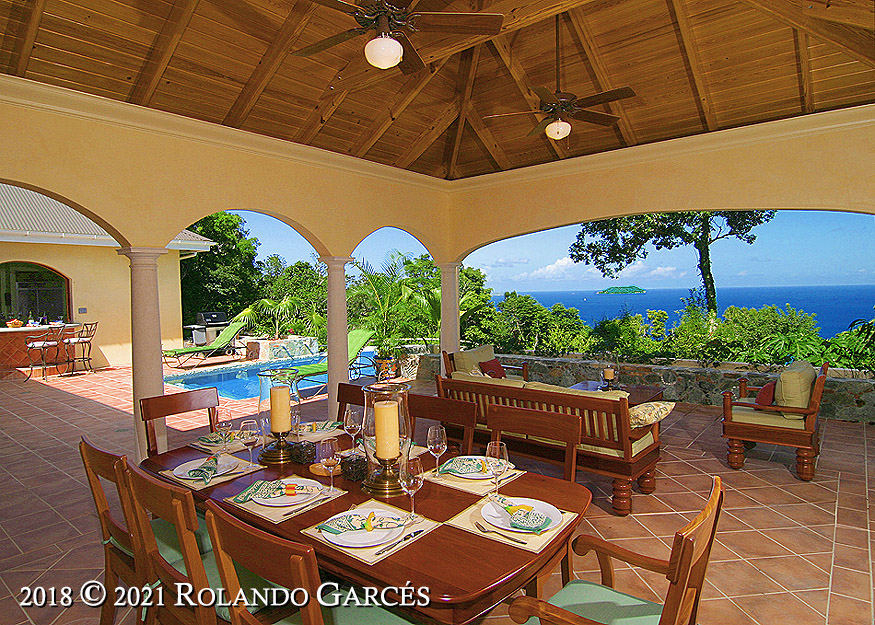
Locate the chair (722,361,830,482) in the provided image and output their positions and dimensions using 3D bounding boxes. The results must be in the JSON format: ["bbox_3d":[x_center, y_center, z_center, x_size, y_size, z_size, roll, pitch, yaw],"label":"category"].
[{"bbox_3d":[3.811,1.153,6.191,1.397,1.371,1.338,1,1,38],"label":"chair"}]

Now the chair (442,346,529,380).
[{"bbox_3d":[0.700,0.763,7.693,0.527,0.521,0.872,0,2,41],"label":"chair"}]

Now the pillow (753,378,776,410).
[{"bbox_3d":[3.622,0.934,5.683,0.329,0.260,0.113,9,-29,-5],"label":"pillow"}]

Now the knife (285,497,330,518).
[{"bbox_3d":[-0.757,1.109,2.964,0.079,0.012,0.290,11,14,38],"label":"knife"}]

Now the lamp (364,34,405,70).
[{"bbox_3d":[-0.423,-2.076,4.105,0.276,0.243,0.365,3,10,2],"label":"lamp"}]

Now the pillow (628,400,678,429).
[{"bbox_3d":[1.912,0.916,4.639,0.463,0.224,0.128,11,5,-24],"label":"pillow"}]

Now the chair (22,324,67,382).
[{"bbox_3d":[-8.703,0.855,11.272,0.748,1.047,0.770,-4,13,-32],"label":"chair"}]

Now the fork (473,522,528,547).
[{"bbox_3d":[0.338,1.176,2.713,0.366,0.045,0.052,7,22,41],"label":"fork"}]

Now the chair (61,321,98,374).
[{"bbox_3d":[-8.258,0.796,11.779,0.538,1.075,0.977,4,11,4],"label":"chair"}]

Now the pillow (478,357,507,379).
[{"bbox_3d":[0.786,0.806,7.308,0.443,0.224,0.107,7,-40,-40],"label":"pillow"}]

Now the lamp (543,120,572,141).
[{"bbox_3d":[1.283,-1.944,5.430,0.228,0.207,0.306,6,10,17],"label":"lamp"}]

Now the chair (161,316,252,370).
[{"bbox_3d":[-5.791,0.750,12.771,1.121,0.739,2.048,4,4,42],"label":"chair"}]

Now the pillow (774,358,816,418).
[{"bbox_3d":[3.918,0.842,5.581,0.659,0.231,0.198,-11,14,-43],"label":"pillow"}]

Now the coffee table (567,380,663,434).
[{"bbox_3d":[1.729,0.921,4.972,0.975,0.183,0.949,-9,10,-43],"label":"coffee table"}]
